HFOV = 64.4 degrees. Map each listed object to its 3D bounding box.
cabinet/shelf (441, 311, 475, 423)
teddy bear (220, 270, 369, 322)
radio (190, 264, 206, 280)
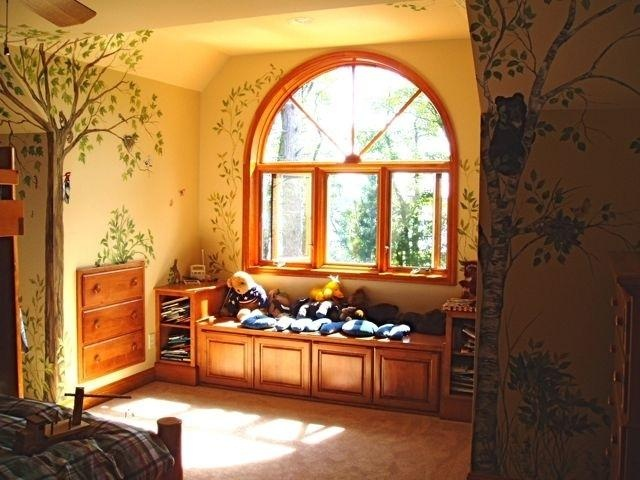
[{"bbox_3d":[1.184,1.095,4.408,0.288,0.958,0.128,0,-1,17],"label":"cabinet/shelf"},{"bbox_3d":[-0.354,0.649,5.264,1.020,0.442,0.653,-1,-5,9],"label":"teddy bear"},{"bbox_3d":[-1.360,0.361,5.615,0.147,0.162,0.155,1,2,-5],"label":"radio"}]
